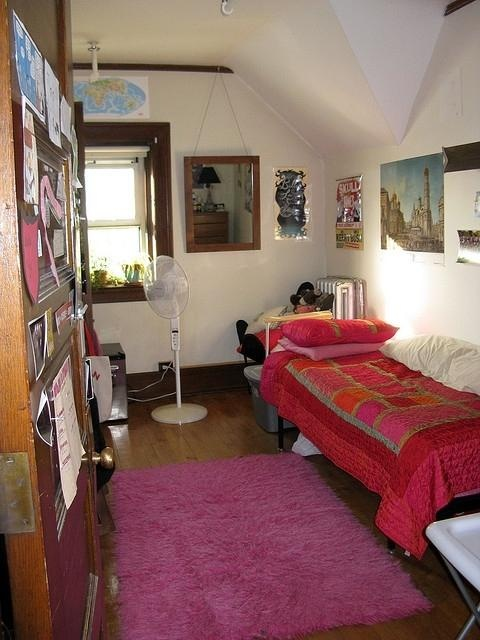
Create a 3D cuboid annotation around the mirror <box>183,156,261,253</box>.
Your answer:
[{"bbox_3d":[-0.215,-1.182,4.662,0.840,1.112,0.041,-3,11,-14],"label":"mirror"}]

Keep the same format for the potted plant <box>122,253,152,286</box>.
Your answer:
[{"bbox_3d":[-1.019,-0.502,4.657,0.326,0.355,0.350,1,2,2],"label":"potted plant"}]

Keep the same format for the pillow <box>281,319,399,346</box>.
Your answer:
[{"bbox_3d":[0.731,0.091,3.448,0.516,0.172,0.344,-1,5,-8],"label":"pillow"}]

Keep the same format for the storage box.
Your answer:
[{"bbox_3d":[0.178,0.670,3.896,0.437,0.432,0.520,-4,9,-21],"label":"storage box"}]

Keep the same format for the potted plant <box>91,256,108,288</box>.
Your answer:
[{"bbox_3d":[-1.382,-0.464,4.584,0.157,0.285,0.150,-4,9,-19],"label":"potted plant"}]

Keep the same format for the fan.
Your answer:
[{"bbox_3d":[-0.565,0.150,4.206,0.512,1.446,0.619,-1,8,-4],"label":"fan"}]
